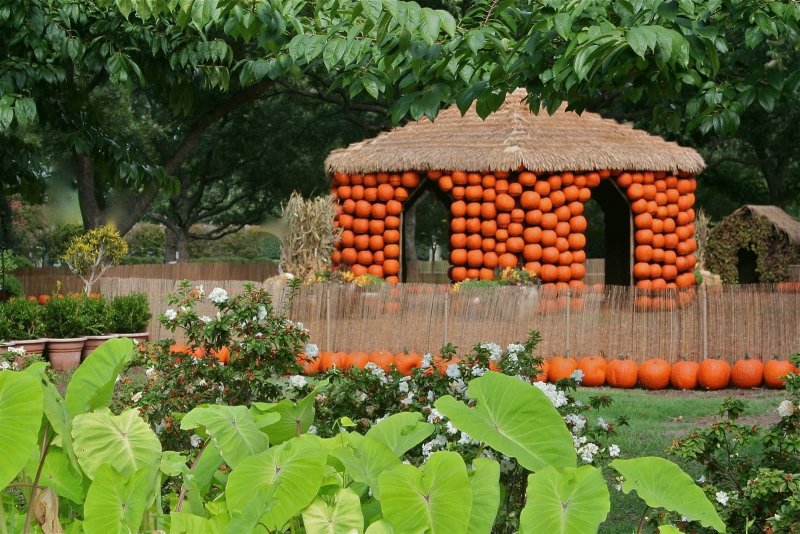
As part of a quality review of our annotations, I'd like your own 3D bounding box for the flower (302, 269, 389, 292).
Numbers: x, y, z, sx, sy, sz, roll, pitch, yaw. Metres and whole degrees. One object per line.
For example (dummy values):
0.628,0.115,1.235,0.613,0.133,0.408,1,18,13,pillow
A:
-0.837,0.190,15.041,1.144,0.307,2.240,0,0,-5,flower
